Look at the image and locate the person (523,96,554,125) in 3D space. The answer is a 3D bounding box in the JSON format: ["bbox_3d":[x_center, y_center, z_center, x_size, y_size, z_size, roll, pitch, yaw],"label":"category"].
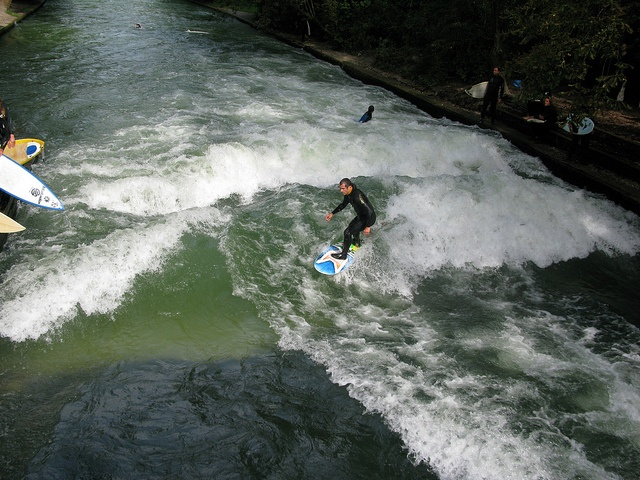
[{"bbox_3d":[7.771,-4.547,18.823,1.085,1.047,0.666,2,33,1],"label":"person"}]

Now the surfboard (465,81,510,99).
[{"bbox_3d":[6.602,-6.201,22.369,2.356,0.323,0.780,2,84,-8],"label":"surfboard"}]
